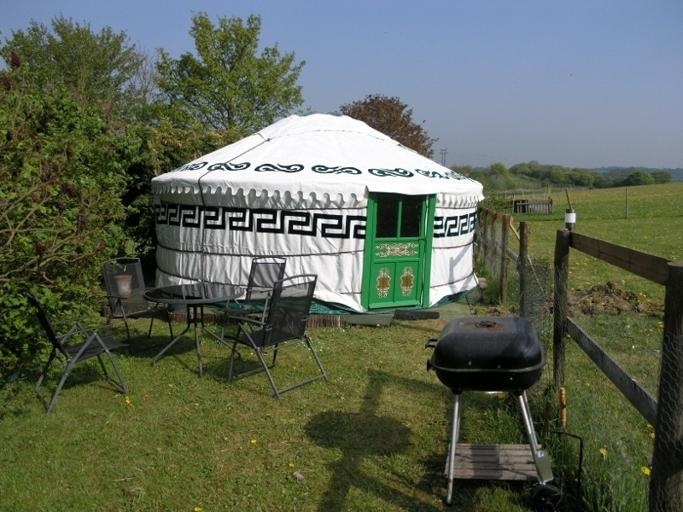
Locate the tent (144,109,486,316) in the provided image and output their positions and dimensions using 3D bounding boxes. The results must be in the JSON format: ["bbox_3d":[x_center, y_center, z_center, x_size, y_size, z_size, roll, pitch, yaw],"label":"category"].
[{"bbox_3d":[-0.405,-0.615,8.451,5.107,2.892,2.136,0,7,5],"label":"tent"}]

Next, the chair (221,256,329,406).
[{"bbox_3d":[-0.601,0.779,6.282,1.424,2.091,1.202,4,4,42],"label":"chair"}]
